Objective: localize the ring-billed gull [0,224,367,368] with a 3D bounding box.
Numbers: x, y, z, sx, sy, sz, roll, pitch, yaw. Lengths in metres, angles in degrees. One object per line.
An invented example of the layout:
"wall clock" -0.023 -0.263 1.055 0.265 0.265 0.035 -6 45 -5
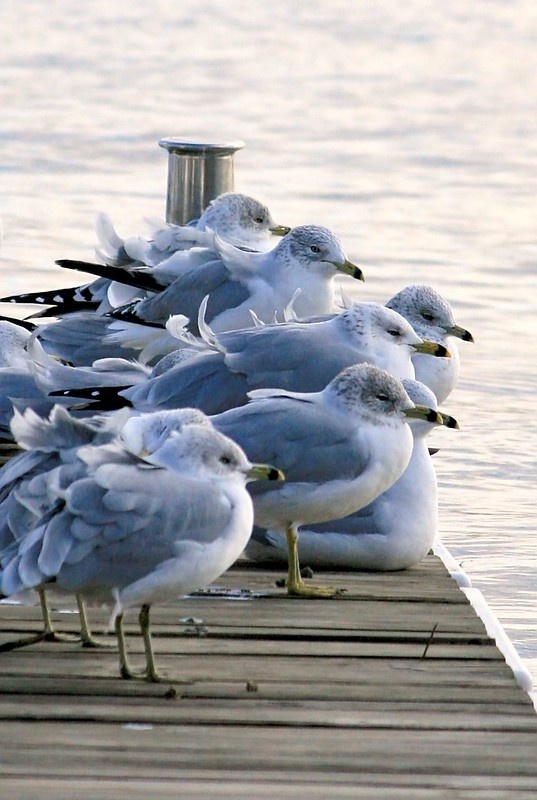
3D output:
"ring-billed gull" -0.239 -0.526 8.364 2.082 0.951 0.633 0 4 11
